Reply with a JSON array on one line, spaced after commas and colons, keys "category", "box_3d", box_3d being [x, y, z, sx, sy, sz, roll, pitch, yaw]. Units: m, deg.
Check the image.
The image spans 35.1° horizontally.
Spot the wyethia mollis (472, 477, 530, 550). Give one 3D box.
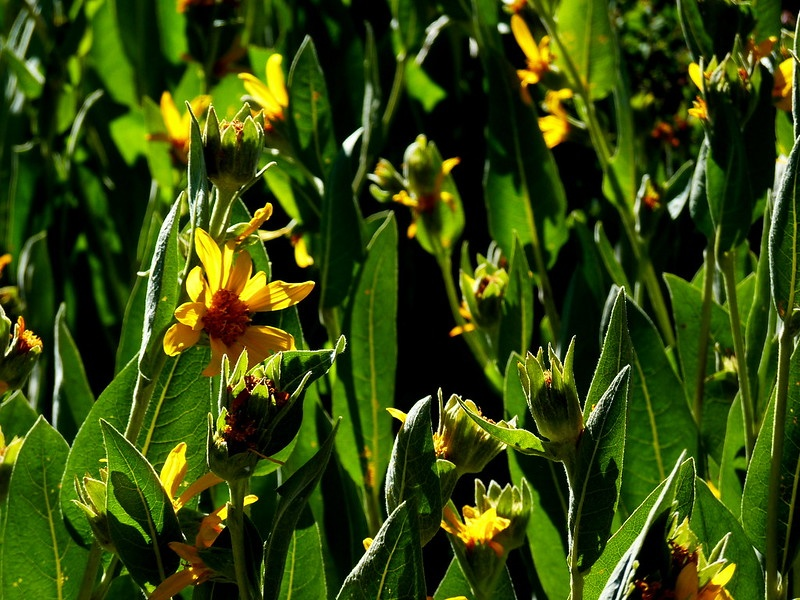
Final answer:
[{"category": "wyethia mollis", "box_3d": [0.091, 0.179, 1.077, 0.047, 0.076, 0.051, -2, -18, 18]}]
